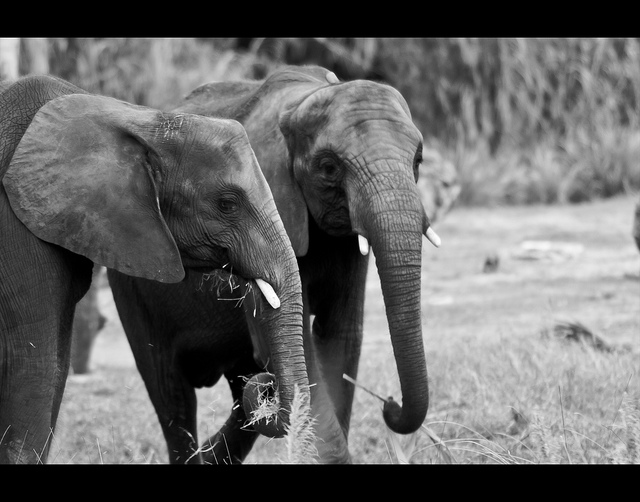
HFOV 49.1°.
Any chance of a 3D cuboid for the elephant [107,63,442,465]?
[{"bbox_3d":[-0.237,0.299,3.847,1.007,2.061,2.352,1,-8,-32],"label":"elephant"}]
